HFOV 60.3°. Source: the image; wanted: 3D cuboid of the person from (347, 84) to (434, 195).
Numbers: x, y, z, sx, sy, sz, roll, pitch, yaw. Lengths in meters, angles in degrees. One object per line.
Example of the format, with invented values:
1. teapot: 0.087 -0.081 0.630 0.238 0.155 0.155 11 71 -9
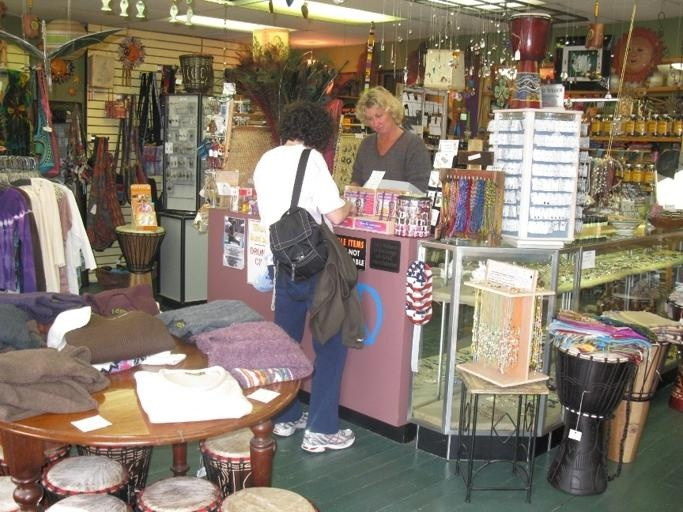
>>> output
1. person: 0.399 -0.957 4.744 0.574 0.806 0.732 0 14 -11

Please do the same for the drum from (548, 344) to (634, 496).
1. drum: 1.526 1.012 3.693 0.453 0.911 0.328 9 15 23

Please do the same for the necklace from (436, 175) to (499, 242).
1. necklace: 0.851 -0.319 3.908 0.409 0.467 0.160 4 5 18

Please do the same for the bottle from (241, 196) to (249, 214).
1. bottle: -0.793 -0.434 4.889 0.066 0.120 0.104 -4 15 -26

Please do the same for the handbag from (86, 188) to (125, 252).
1. handbag: -3.053 -0.468 7.635 0.441 0.758 0.315 -3 15 -24

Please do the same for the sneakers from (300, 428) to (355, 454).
1. sneakers: -0.093 1.269 4.106 0.352 0.165 0.148 -5 12 -23

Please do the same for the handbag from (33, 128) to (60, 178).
1. handbag: -2.641 -0.939 5.296 0.188 0.458 0.369 -4 15 -26

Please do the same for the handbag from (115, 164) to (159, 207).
1. handbag: -2.704 -0.957 7.785 0.620 0.592 0.283 11 39 15

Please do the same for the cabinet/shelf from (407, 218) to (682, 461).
1. cabinet/shelf: 1.265 0.575 3.899 1.616 0.774 0.511 -8 15 -33

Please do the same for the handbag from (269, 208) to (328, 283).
1. handbag: -0.261 -0.062 3.684 0.336 0.410 0.221 -23 22 10

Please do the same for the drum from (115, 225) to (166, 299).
1. drum: -2.356 -0.005 6.982 0.547 0.753 0.326 -3 15 -22

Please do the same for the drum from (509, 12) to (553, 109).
1. drum: 1.242 -1.325 3.955 0.248 0.621 0.251 3 14 -1
